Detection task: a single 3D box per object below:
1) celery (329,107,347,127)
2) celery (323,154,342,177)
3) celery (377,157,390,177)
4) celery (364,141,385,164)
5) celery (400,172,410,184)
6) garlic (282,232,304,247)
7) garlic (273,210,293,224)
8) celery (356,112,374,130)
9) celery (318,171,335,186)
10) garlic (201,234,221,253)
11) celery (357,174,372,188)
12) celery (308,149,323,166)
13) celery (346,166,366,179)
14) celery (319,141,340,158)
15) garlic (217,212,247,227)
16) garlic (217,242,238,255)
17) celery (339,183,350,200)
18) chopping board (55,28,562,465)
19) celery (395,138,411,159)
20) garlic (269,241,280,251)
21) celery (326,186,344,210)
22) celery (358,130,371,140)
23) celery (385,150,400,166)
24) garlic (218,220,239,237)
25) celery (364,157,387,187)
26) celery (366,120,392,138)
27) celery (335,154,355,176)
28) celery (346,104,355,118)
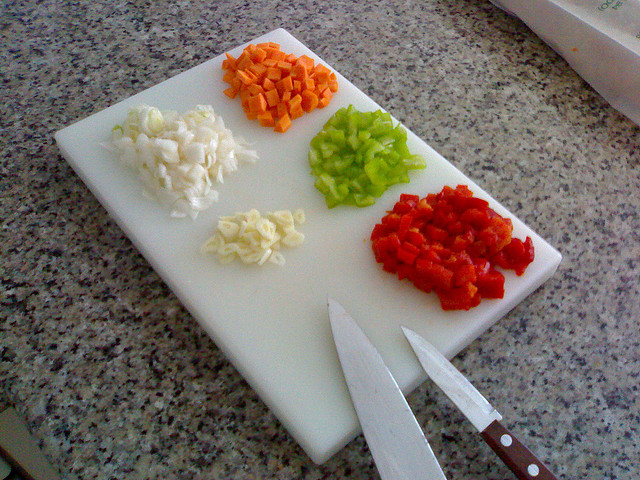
[{"bbox_3d":[0.051,-0.364,1.582,0.018,0.051,0.050,22,54,42],"label":"celery"},{"bbox_3d":[0.035,-0.221,1.539,0.055,0.014,0.061,4,76,10],"label":"celery"},{"bbox_3d":[0.181,-0.206,1.501,0.030,0.020,0.055,-5,87,-1],"label":"celery"},{"bbox_3d":[0.163,-0.248,1.496,0.044,0.015,0.062,21,71,11],"label":"celery"},{"bbox_3d":[0.247,-0.177,1.519,0.030,0.008,0.022,16,76,-30],"label":"celery"},{"bbox_3d":[-0.071,-0.001,1.448,0.058,0.020,0.038,6,71,-7],"label":"garlic"},{"bbox_3d":[-0.098,-0.064,1.460,0.039,0.012,0.038,36,47,25],"label":"garlic"},{"bbox_3d":[0.137,-0.348,1.555,0.046,0.033,0.047,1,88,-3],"label":"celery"},{"bbox_3d":[0.023,-0.173,1.507,0.027,0.012,0.051,-17,68,-20],"label":"celery"},{"bbox_3d":[-0.295,0.013,1.450,0.045,0.015,0.061,-12,54,-7],"label":"garlic"},{"bbox_3d":[0.128,-0.170,1.512,0.039,0.012,0.035,-37,106,-18],"label":"celery"},{"bbox_3d":[-0.013,-0.241,1.562,0.043,0.013,0.045,-21,81,-35],"label":"celery"},{"bbox_3d":[0.106,-0.194,1.516,0.038,0.013,0.042,11,70,1],"label":"celery"},{"bbox_3d":[0.033,-0.275,1.568,0.059,0.014,0.044,19,68,7],"label":"celery"},{"bbox_3d":[-0.236,-0.057,1.458,0.058,0.014,0.039,9,61,19],"label":"garlic"},{"bbox_3d":[-0.248,0.023,1.427,0.053,0.017,0.029,-11,74,-13],"label":"garlic"},{"bbox_3d":[0.071,-0.141,1.497,0.032,0.010,0.035,-35,84,3],"label":"celery"},{"bbox_3d":[-0.140,-0.067,1.468,0.986,0.148,1.393,-31,61,-24],"label":"chopping board"},{"bbox_3d":[0.243,-0.266,1.534,0.053,0.015,0.052,-19,90,29],"label":"celery"},{"bbox_3d":[-0.120,0.012,1.425,0.021,0.007,0.020,-35,98,-16],"label":"garlic"},{"bbox_3d":[0.038,-0.119,1.494,0.058,0.014,0.057,9,103,15],"label":"celery"},{"bbox_3d":[0.130,-0.305,1.529,0.028,0.029,0.029,16,43,-17],"label":"celery"},{"bbox_3d":[0.209,-0.236,1.513,0.041,0.016,0.041,7,94,-14],"label":"celery"},{"bbox_3d":[-0.245,-0.034,1.441,0.049,0.018,0.048,-12,74,-13],"label":"garlic"},{"bbox_3d":[0.155,-0.192,1.488,0.070,0.023,0.075,-25,106,-29],"label":"celery"},{"bbox_3d":[0.177,-0.325,1.535,0.063,0.018,0.047,-26,73,-9],"label":"celery"},{"bbox_3d":[0.075,-0.219,1.526,0.043,0.019,0.066,37,85,15],"label":"celery"},{"bbox_3d":[0.090,-0.389,1.589,0.036,0.010,0.036,-10,88,-44],"label":"celery"}]
